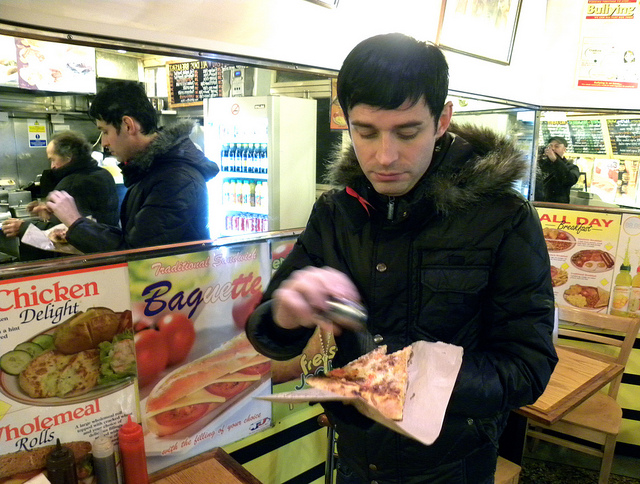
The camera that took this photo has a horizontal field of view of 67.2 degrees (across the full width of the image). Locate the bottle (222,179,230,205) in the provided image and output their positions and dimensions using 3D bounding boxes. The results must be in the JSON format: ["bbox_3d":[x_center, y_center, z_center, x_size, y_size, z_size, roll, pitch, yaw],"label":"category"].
[{"bbox_3d":[-0.633,-0.338,3.225,0.044,0.166,0.170,-3,13,-10],"label":"bottle"}]

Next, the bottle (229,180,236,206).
[{"bbox_3d":[-0.601,-0.336,3.273,0.049,0.168,0.125,-3,13,-10],"label":"bottle"}]

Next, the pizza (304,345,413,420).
[{"bbox_3d":[0.153,0.408,1.440,0.317,0.135,0.265,-7,14,-28],"label":"pizza"}]

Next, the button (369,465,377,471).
[{"bbox_3d":[0.177,0.759,1.620,0.019,0.019,0.004,-19,11,18],"label":"button"}]

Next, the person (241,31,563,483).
[{"bbox_3d":[0.277,0.149,1.567,0.927,1.568,0.650,5,14,22],"label":"person"}]

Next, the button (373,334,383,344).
[{"bbox_3d":[0.190,0.319,1.585,0.029,0.026,0.007,-1,-14,3],"label":"button"}]

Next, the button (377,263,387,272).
[{"bbox_3d":[0.200,0.082,1.570,0.027,0.025,0.007,1,5,29],"label":"button"}]

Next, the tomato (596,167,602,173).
[{"bbox_3d":[2.104,-0.546,3.629,0.054,0.046,0.029,2,-1,8],"label":"tomato"}]
